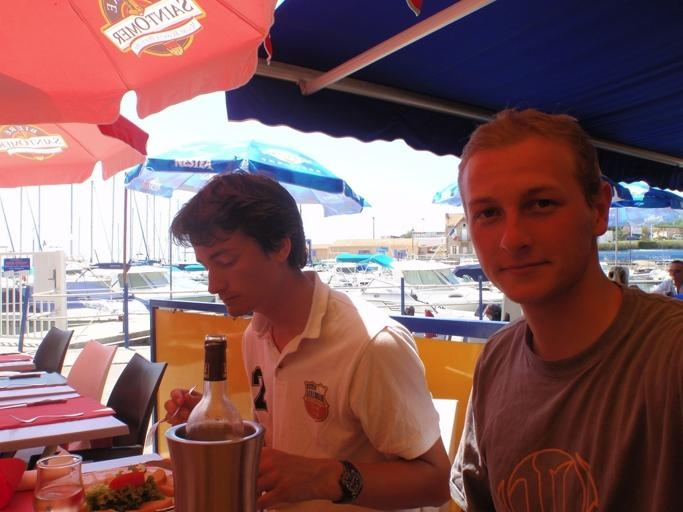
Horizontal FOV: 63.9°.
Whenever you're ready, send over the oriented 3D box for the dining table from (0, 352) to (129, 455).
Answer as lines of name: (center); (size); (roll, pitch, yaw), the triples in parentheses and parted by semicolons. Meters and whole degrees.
dining table: (-2.056, 1.091, 4.152); (0.474, 0.807, 0.559); (5, 3, 31)
